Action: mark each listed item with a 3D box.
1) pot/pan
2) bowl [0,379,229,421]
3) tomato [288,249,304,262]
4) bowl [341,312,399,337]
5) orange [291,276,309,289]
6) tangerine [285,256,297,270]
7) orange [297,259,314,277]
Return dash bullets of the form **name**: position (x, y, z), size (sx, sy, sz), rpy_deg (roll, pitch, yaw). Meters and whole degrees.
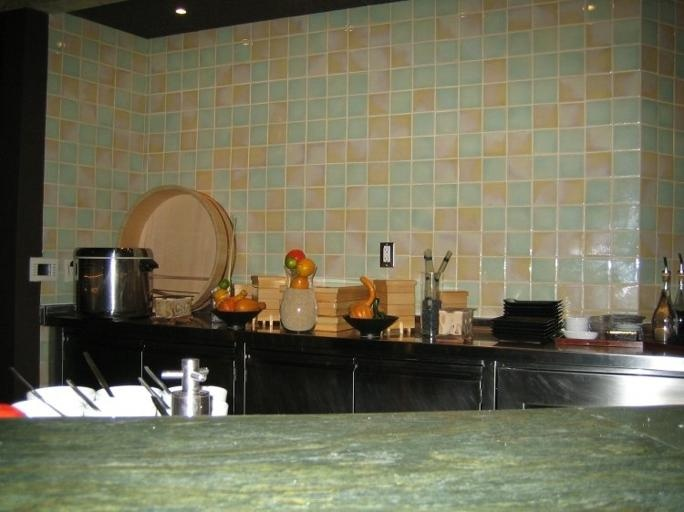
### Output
- **pot/pan**: position (-1.054, 0.124, 3.066), size (0.364, 0.246, 0.330), rpy_deg (0, -2, 0)
- **bowl**: position (-0.405, 0.244, 1.117), size (0.206, 0.075, 0.164), rpy_deg (1, -4, 3)
- **tomato**: position (-0.198, 0.002, 2.883), size (0.054, 0.051, 0.050), rpy_deg (27, -50, -26)
- **bowl**: position (0.127, 0.275, 2.647), size (0.220, 0.083, 0.166), rpy_deg (0, -1, -17)
- **orange**: position (-0.170, 0.110, 2.725), size (0.059, 0.056, 0.054), rpy_deg (-2, -7, 4)
- **tangerine**: position (-0.211, 0.030, 2.779), size (0.049, 0.055, 0.048), rpy_deg (1, 1, 6)
- **orange**: position (-0.144, 0.051, 2.758), size (0.067, 0.073, 0.094), rpy_deg (0, -1, 11)
